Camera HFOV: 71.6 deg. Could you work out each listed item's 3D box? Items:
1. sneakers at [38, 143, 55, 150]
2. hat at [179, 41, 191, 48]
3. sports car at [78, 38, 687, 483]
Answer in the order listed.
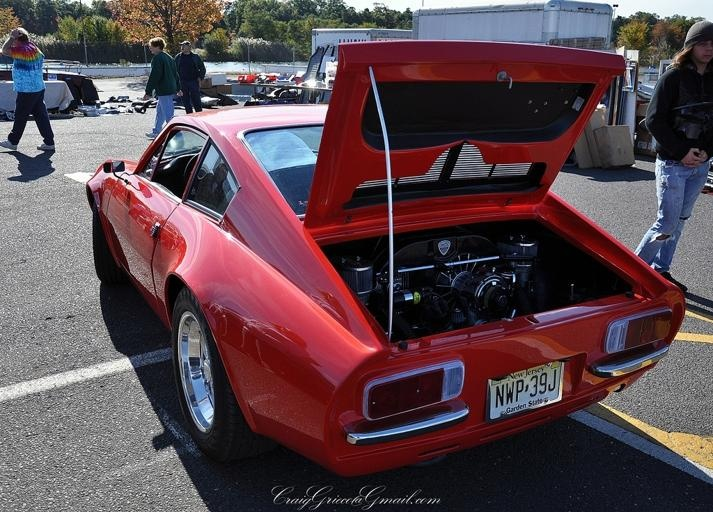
[{"bbox_3d":[-6.811,-2.381,10.827,0.361,0.170,0.141,11,16,19],"label":"sneakers"},{"bbox_3d":[-4.386,-5.415,12.706,0.252,0.145,0.370,-8,19,-27],"label":"hat"},{"bbox_3d":[-0.252,-0.265,3.236,2.106,1.616,3.357,-11,32,-33],"label":"sports car"}]
